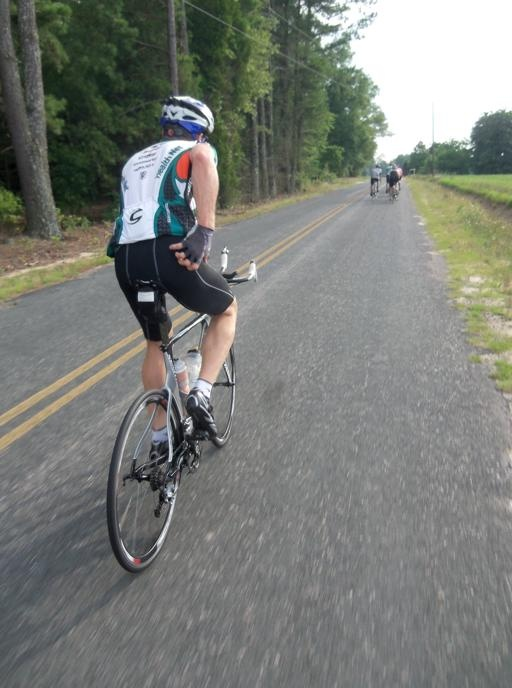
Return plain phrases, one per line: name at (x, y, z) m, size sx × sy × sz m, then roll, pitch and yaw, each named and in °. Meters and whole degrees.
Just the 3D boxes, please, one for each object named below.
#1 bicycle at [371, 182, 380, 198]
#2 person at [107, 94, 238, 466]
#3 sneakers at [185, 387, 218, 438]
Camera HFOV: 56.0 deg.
bicycle at (7.788, -6.783, 31.579) m, size 0.525 × 0.803 × 1.284 m, roll -2°, pitch 23°, yaw 16°
person at (-0.467, -0.201, 2.736) m, size 0.678 × 1.557 × 0.582 m, roll -2°, pitch 9°, yaw -5°
sneakers at (-0.296, 0.394, 2.701) m, size 0.091 × 0.308 × 0.143 m, roll -6°, pitch 41°, yaw 20°
